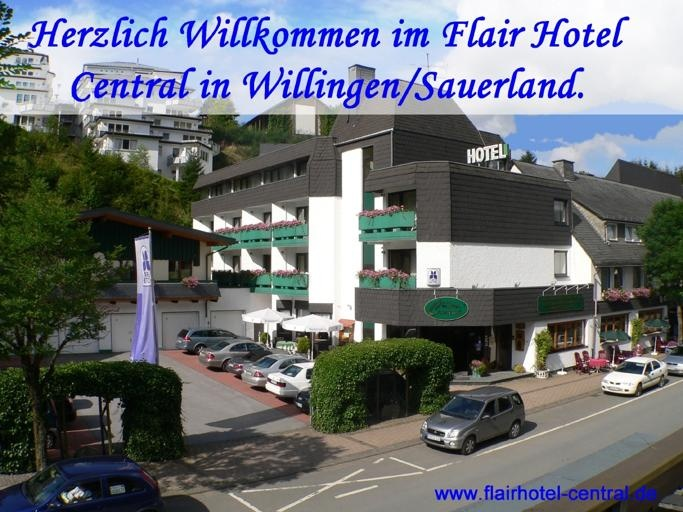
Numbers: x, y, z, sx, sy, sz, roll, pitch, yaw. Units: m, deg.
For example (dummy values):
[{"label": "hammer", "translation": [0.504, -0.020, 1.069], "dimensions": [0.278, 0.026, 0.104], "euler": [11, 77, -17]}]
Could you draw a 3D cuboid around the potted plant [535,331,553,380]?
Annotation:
[{"label": "potted plant", "translation": [11.667, 5.691, 41.126], "dimensions": [0.830, 2.677, 0.950], "euler": [-1, 8, -15]}]

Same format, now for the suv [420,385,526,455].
[{"label": "suv", "translation": [5.663, 7.087, 30.415], "dimensions": [4.430, 2.010, 1.641], "euler": [-4, 9, -32]}]

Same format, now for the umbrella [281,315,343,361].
[{"label": "umbrella", "translation": [-1.646, 5.083, 41.578], "dimensions": [2.986, 1.942, 3.118], "euler": [-1, 1, -20]}]

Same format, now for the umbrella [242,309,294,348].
[{"label": "umbrella", "translation": [-4.789, 4.307, 45.301], "dimensions": [3.140, 2.607, 3.091], "euler": [-1, -5, 12]}]

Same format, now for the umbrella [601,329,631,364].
[{"label": "umbrella", "translation": [17.197, 5.721, 44.616], "dimensions": [2.167, 2.312, 2.269], "euler": [-1, 0, 0]}]

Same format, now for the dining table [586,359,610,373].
[{"label": "dining table", "translation": [15.662, 6.715, 43.267], "dimensions": [1.076, 0.540, 1.093], "euler": [-3, -3, 37]}]

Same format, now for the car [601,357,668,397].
[{"label": "car", "translation": [16.029, 6.574, 38.700], "dimensions": [3.877, 1.646, 1.592], "euler": [-5, 10, -37]}]

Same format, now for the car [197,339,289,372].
[{"label": "car", "translation": [-6.441, 5.769, 40.809], "dimensions": [4.777, 1.545, 1.871], "euler": [1, -2, -36]}]

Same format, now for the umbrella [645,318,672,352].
[{"label": "umbrella", "translation": [22.330, 5.609, 50.096], "dimensions": [2.065, 2.099, 2.048], "euler": [3, -9, -7]}]

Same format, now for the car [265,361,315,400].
[{"label": "car", "translation": [-2.598, 6.228, 35.469], "dimensions": [2.266, 1.431, 1.274], "euler": [-1, 8, -12]}]
